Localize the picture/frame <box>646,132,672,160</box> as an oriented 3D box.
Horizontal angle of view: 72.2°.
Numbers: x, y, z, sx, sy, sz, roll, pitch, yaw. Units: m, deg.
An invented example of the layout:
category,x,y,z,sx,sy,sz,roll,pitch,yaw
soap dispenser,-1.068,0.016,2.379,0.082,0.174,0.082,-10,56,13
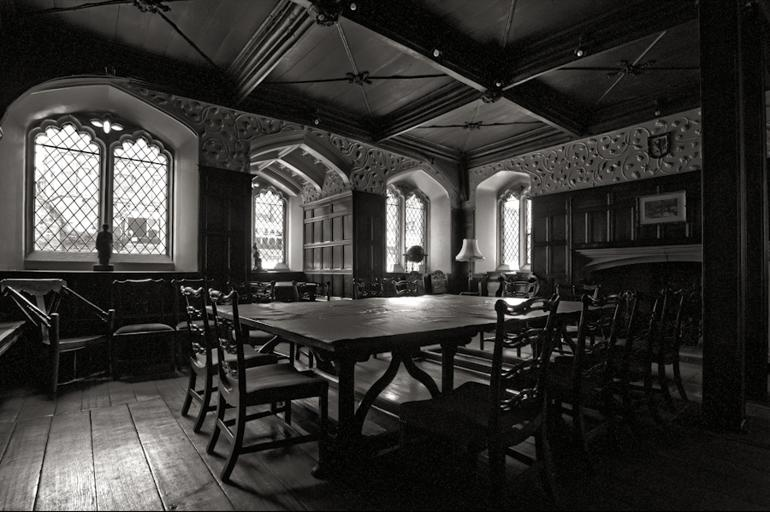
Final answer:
category,x,y,z,sx,sy,sz,roll,pitch,yaw
picture/frame,4.599,-1.841,8.823,0.079,0.326,0.375,0,-2,-43
